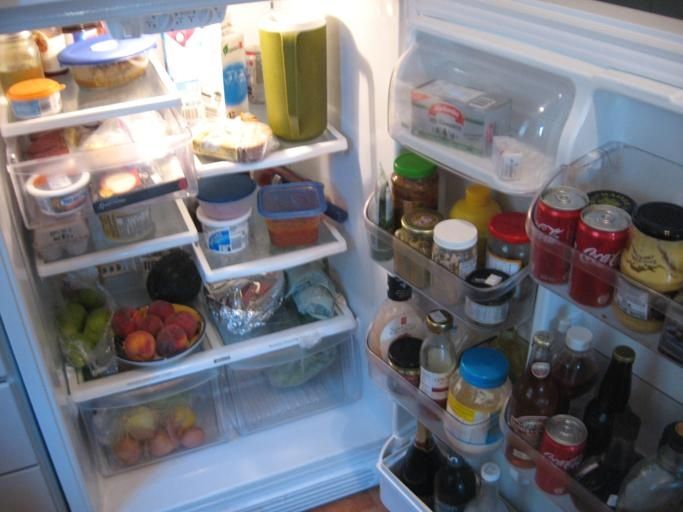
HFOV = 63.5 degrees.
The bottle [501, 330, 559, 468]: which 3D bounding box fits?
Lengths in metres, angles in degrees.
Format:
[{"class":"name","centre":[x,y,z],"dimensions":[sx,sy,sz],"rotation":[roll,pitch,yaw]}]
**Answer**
[{"class":"bottle","centre":[0.357,0.280,1.030],"dimensions":[0.069,0.254,0.072],"rotation":[8,2,0]}]

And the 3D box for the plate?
[{"class":"plate","centre":[-0.532,0.207,1.607],"dimensions":[0.257,0.134,0.206],"rotation":[-17,35,-19]}]

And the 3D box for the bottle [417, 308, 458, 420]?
[{"class":"bottle","centre":[0.203,0.227,1.187],"dimensions":[0.067,0.224,0.078],"rotation":[-6,28,-6]}]

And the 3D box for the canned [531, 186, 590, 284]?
[{"class":"canned","centre":[0.327,-0.026,0.889],"dimensions":[0.062,0.155,0.082],"rotation":[-6,30,-16]}]

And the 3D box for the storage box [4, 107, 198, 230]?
[{"class":"storage box","centre":[-0.567,-0.219,1.337],"dimensions":[0.412,0.175,0.219],"rotation":[-14,34,-14]}]

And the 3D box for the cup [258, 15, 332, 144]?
[{"class":"cup","centre":[-0.118,-0.447,1.445],"dimensions":[0.121,0.326,0.139],"rotation":[-23,41,-29]}]

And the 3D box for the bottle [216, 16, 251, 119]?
[{"class":"bottle","centre":[-0.264,-0.488,1.523],"dimensions":[0.122,0.222,0.076],"rotation":[2,10,41]}]

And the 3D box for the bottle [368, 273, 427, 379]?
[{"class":"bottle","centre":[0.142,0.191,1.294],"dimensions":[0.138,0.082,0.324],"rotation":[1,45,4]}]

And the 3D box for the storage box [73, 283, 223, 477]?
[{"class":"storage box","centre":[-0.548,0.363,1.730],"dimensions":[0.436,0.329,0.460],"rotation":[-13,38,-19]}]

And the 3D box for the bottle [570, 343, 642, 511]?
[{"class":"bottle","centre":[0.472,0.321,1.017],"dimensions":[0.114,0.328,0.097],"rotation":[19,31,35]}]

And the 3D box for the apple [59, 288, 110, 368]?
[{"class":"apple","centre":[-0.716,0.206,1.561],"dimensions":[0.134,0.182,0.188],"rotation":[-15,34,-16]}]
